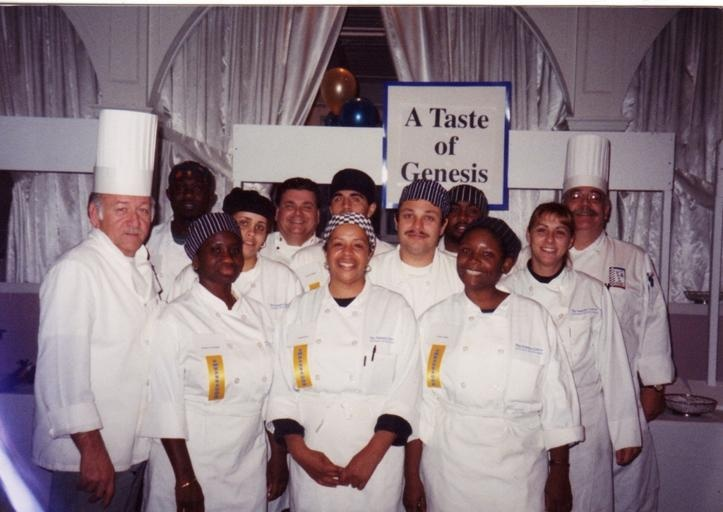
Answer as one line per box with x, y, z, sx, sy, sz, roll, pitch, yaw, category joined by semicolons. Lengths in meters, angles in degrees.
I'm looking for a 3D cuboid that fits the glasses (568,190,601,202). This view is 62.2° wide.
1.430;-0.390;3.850;0.103;0.030;0.103;0;-26;11;glasses

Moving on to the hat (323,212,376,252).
-0.053;-0.177;3.234;0.213;0.245;0.129;-4;22;-5;hat

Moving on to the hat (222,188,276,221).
-0.710;-0.335;3.752;0.257;0.202;0.107;-18;-13;-18;hat

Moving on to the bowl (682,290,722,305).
3.170;0.382;5.586;0.313;0.114;0.306;1;3;0;bowl

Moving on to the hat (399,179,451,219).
0.384;-0.355;3.536;0.268;0.174;0.203;20;-10;-10;hat

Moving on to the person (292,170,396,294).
-0.130;-0.161;3.747;0.823;0.749;0.414;2;-15;4;person

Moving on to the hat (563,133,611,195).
1.521;-0.552;4.081;0.313;0.492;0.342;6;-40;21;hat

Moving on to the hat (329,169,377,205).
-0.034;-0.475;4.047;0.256;0.155;0.253;8;-36;9;hat
